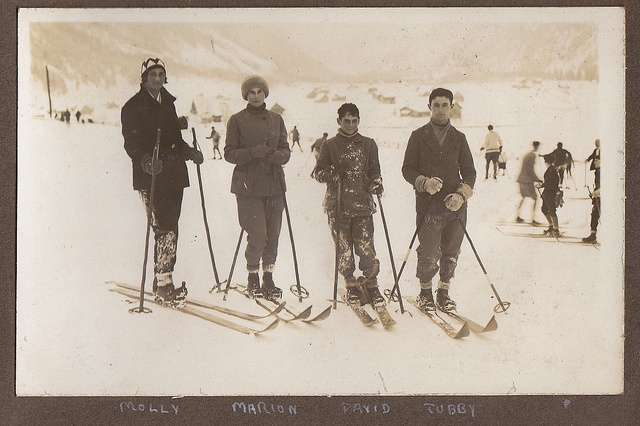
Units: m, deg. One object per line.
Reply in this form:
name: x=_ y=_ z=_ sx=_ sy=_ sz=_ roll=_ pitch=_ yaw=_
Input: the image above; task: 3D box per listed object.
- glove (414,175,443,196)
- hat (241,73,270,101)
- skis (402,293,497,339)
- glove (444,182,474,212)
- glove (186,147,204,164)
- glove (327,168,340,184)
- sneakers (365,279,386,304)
glove: x=0.757 y=-0.209 z=5.934 sx=0.152 sy=0.133 sz=0.081 roll=9 pitch=0 yaw=12
hat: x=-0.456 y=-0.880 z=5.950 sx=0.124 sy=0.146 sz=0.174 roll=-1 pitch=6 yaw=-2
skis: x=0.962 y=0.785 z=5.981 sx=0.214 sy=0.081 sz=0.506 roll=-19 pitch=36 yaw=-36
glove: x=0.974 y=-0.124 z=6.062 sx=0.214 sy=0.152 sz=0.088 roll=-36 pitch=12 yaw=-2
glove: x=-0.879 y=-0.414 z=5.991 sx=0.093 sy=0.123 sz=0.056 roll=-41 pitch=6 yaw=12
glove: x=0.100 y=-0.276 z=5.977 sx=0.074 sy=0.111 sz=0.030 roll=2 pitch=0 yaw=0
sneakers: x=0.386 y=0.570 z=6.045 sx=0.082 sy=0.251 sz=0.102 roll=-26 pitch=-14 yaw=5
